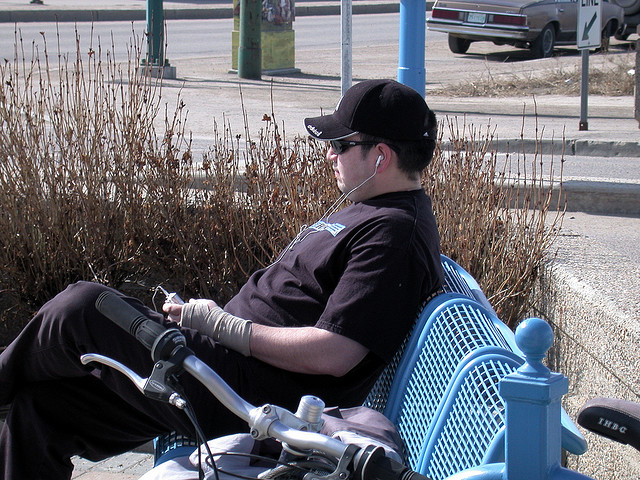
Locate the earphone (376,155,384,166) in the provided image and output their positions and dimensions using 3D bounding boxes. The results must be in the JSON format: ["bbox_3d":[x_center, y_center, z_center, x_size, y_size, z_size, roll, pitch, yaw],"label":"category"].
[{"bbox_3d":[0.295,-0.398,4.545,0.017,0.084,0.016,9,-2,30],"label":"earphone"}]
